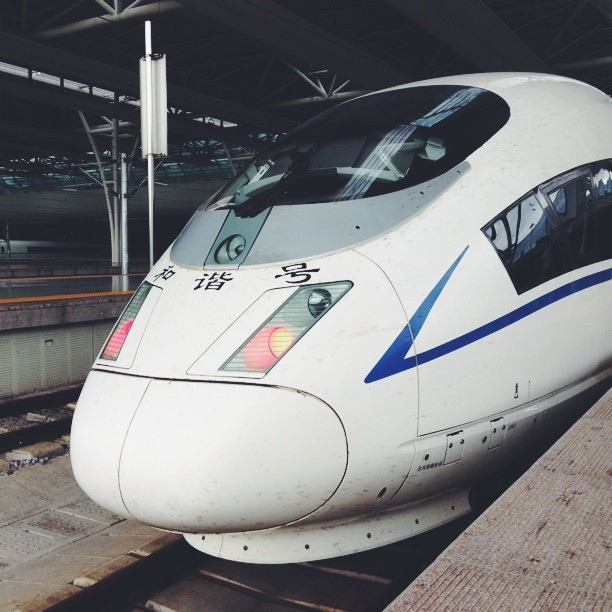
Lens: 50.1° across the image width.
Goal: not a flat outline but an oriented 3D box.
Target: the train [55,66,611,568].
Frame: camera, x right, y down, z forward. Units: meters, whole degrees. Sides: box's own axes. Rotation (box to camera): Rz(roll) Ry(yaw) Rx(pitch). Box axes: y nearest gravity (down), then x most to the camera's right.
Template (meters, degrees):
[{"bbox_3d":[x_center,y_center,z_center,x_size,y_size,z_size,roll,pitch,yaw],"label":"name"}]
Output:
[{"bbox_3d":[0.313,-0.022,3.978,3.338,2.872,1.308,-15,13,-34],"label":"train"}]
